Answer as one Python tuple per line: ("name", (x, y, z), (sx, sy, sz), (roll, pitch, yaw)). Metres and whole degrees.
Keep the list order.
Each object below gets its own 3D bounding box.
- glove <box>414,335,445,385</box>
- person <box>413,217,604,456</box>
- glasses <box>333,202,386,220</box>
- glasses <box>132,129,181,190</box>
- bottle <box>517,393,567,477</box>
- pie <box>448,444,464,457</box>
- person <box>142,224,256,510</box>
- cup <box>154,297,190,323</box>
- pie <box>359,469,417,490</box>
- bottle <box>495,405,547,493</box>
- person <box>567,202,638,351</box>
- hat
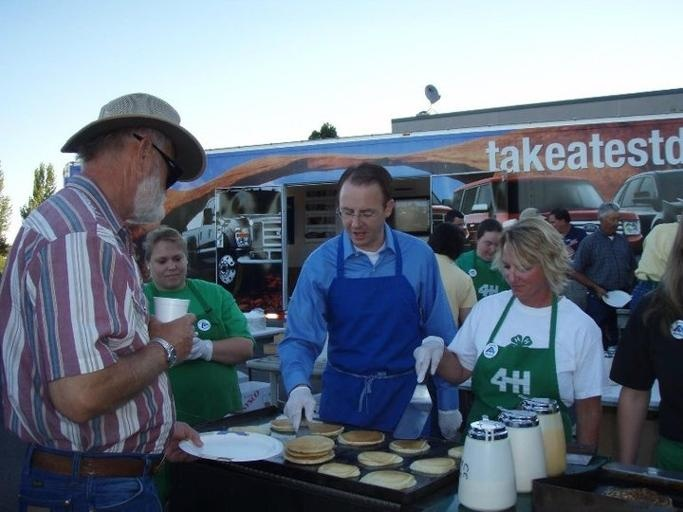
("glove", (0.423, 0.489, 2.907), (0.115, 0.072, 0.248), (-2, 38, 24))
("person", (0.867, 0.611, 2.963), (0.770, 1.500, 0.704), (1, 11, 15))
("glasses", (0.123, -0.227, 3.171), (0.236, 0.092, 0.140), (-4, 0, -12))
("glasses", (-0.720, -0.388, 2.422), (0.048, 0.174, 0.164), (-30, -2, -17))
("bottle", (0.789, 0.698, 2.341), (0.170, 0.261, 0.156), (0, -7, 0))
("pie", (0.485, 0.821, 2.549), (0.072, 0.019, 0.083), (-3, 2, -6))
("person", (-0.973, 0.798, 3.868), (0.728, 1.828, 0.594), (-6, 0, -29))
("cup", (-0.729, 0.230, 2.569), (0.112, 0.092, 0.111), (-1, -6, 0))
("pie", (0.186, 0.849, 2.308), (0.208, 0.029, 0.176), (-4, 0, 11))
("bottle", (0.685, 0.710, 2.245), (0.207, 0.246, 0.166), (-9, -4, 11))
("person", (3.192, 0.514, 7.203), (0.689, 2.173, 0.632), (-3, 14, 2))
("hat", (-0.830, -0.513, 2.451), (0.537, 0.245, 0.476), (1, -11, -18))
